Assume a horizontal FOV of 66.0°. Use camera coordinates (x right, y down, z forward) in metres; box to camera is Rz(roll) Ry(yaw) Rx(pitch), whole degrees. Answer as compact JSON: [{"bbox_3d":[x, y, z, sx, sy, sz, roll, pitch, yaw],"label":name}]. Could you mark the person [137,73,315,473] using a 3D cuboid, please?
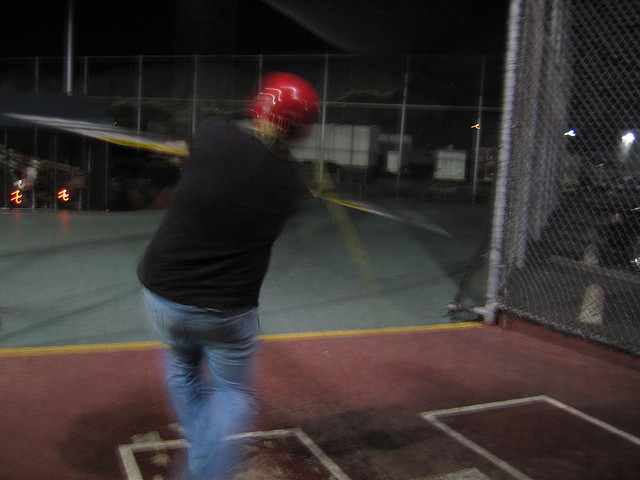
[{"bbox_3d":[-0.491,0.202,2.543,0.848,2.111,0.313,1,9,-14],"label":"person"}]
